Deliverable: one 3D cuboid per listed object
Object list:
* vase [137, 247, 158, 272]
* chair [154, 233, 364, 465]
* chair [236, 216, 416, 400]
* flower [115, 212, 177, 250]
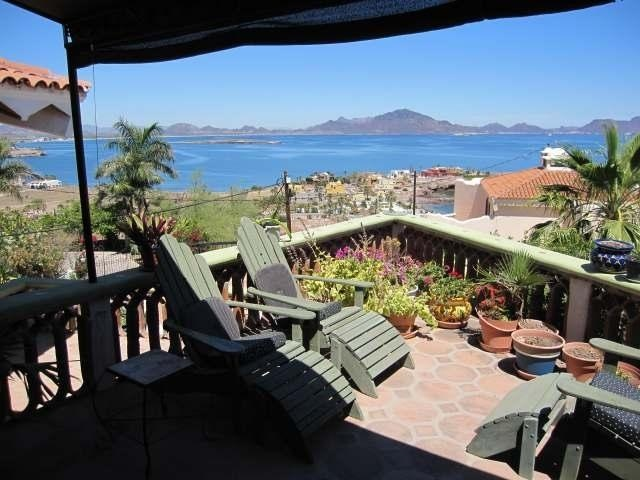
[{"bbox_3d":[-1.294,0.153,3.366,0.187,0.170,0.182,-5,10,-37],"label":"vase"},{"bbox_3d":[-0.528,0.673,3.059,1.564,1.002,0.898,9,14,40],"label":"chair"},{"bbox_3d":[-0.038,0.521,3.716,1.533,1.011,0.855,9,14,32],"label":"chair"},{"bbox_3d":[-1.339,-0.094,3.331,0.330,0.203,0.307,-7,7,28],"label":"flower"}]
